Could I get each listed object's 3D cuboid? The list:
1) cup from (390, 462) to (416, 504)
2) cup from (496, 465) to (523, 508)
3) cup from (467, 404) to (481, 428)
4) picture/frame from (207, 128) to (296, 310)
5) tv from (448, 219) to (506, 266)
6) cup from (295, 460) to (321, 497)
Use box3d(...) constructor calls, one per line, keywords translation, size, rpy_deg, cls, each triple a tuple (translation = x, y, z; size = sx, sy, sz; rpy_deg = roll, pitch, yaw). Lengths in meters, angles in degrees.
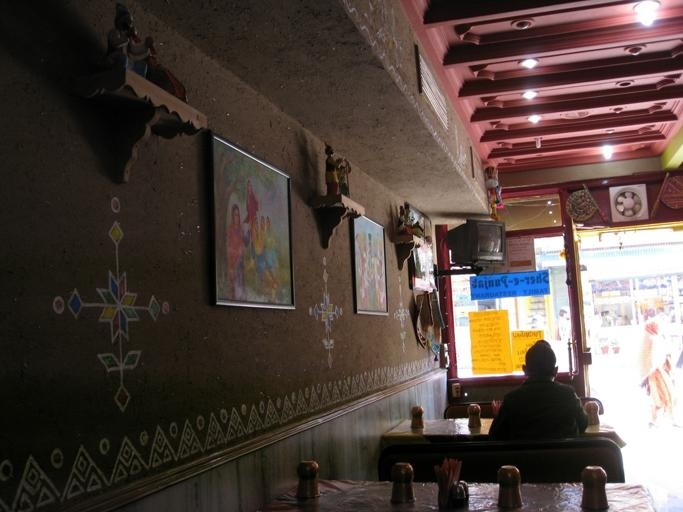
box3d(translation=(0.294, 1.082, 2.839), size=(0.111, 0.166, 0.123), rpy_deg=(-2, -8, 5), cls="cup")
box3d(translation=(0.761, 1.032, 2.701), size=(0.132, 0.190, 0.138), rpy_deg=(1, -5, 0), cls="cup")
box3d(translation=(1.083, 1.318, 4.867), size=(0.128, 0.190, 0.137), rpy_deg=(1, -12, 0), cls="cup")
box3d(translation=(-0.492, -0.178, 3.141), size=(0.058, 0.887, 0.889), rpy_deg=(-7, -12, 24), cls="picture/frame")
box3d(translation=(1.634, -0.172, 7.190), size=(0.537, 0.530, 0.551), rpy_deg=(4, -9, -22), cls="tv")
box3d(translation=(-0.170, 1.135, 3.058), size=(0.141, 0.181, 0.159), rpy_deg=(1, -7, -3), cls="cup")
